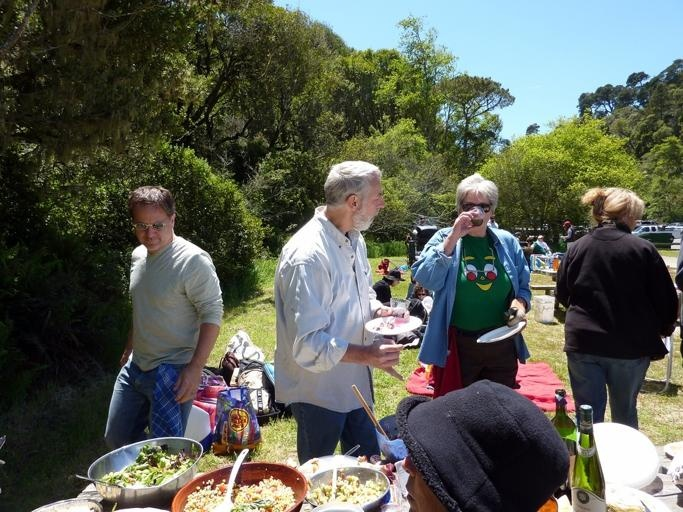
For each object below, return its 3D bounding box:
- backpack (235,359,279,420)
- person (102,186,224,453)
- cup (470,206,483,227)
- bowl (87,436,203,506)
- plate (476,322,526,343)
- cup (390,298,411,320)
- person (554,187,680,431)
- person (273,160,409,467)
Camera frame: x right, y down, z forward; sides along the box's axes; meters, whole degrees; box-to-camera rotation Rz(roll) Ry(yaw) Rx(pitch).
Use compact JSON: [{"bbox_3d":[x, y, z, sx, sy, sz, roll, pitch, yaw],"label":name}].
[{"bbox_3d":[-1.083,1.664,6.584,0.502,0.821,0.303,12,-34,-26],"label":"backpack"},{"bbox_3d":[-1.435,0.497,4.189,0.872,2.167,0.399,2,-1,6],"label":"person"},{"bbox_3d":[1.273,-0.310,4.709,0.090,0.158,0.185,2,-2,28],"label":"cup"},{"bbox_3d":[-1.163,1.269,3.043,0.457,0.197,0.390,0,10,-33],"label":"bowl"},{"bbox_3d":[1.421,0.685,4.502,0.572,0.174,0.318,4,-2,-27],"label":"plate"},{"bbox_3d":[0.500,0.436,4.253,0.160,0.170,0.196,-1,-2,4],"label":"cup"},{"bbox_3d":[2.503,0.462,4.661,0.973,1.617,0.503,2,-1,26],"label":"person"},{"bbox_3d":[-0.051,0.428,3.790,0.897,2.042,0.811,2,-1,-9],"label":"person"}]
